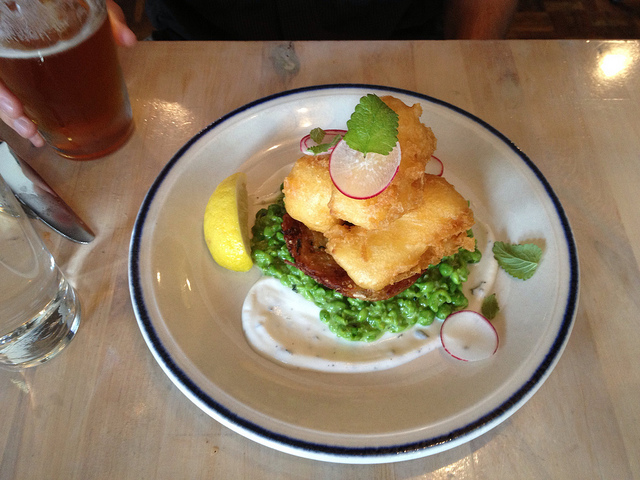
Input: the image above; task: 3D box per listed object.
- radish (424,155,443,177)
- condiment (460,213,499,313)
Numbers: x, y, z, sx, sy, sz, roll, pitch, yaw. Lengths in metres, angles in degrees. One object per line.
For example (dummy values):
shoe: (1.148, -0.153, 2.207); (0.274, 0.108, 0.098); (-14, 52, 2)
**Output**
radish: (0.711, -0.462, 3.492); (0.107, 0.046, 0.133); (14, 67, 3)
condiment: (0.942, 0.126, 3.284); (0.182, 0.064, 0.604); (13, 67, 3)
